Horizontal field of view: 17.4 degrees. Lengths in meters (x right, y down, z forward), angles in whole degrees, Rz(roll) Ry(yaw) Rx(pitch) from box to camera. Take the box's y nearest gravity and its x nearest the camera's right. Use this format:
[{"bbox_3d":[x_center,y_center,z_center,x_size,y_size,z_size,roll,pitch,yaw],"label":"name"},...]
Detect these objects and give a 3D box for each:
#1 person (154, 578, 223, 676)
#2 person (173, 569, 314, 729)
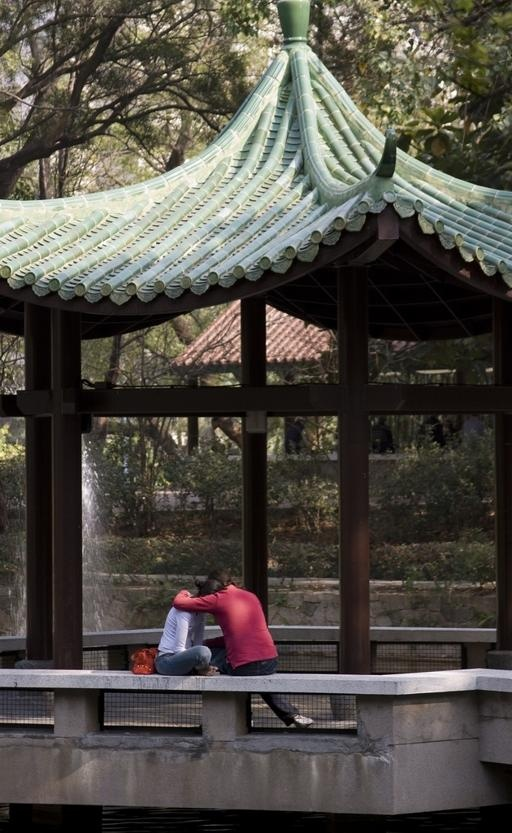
[{"bbox_3d":[-0.440,1.290,10.694,0.440,0.833,0.608,3,-3,-2],"label":"person"},{"bbox_3d":[-0.087,1.490,10.451,0.863,0.937,0.526,0,4,8],"label":"person"}]
